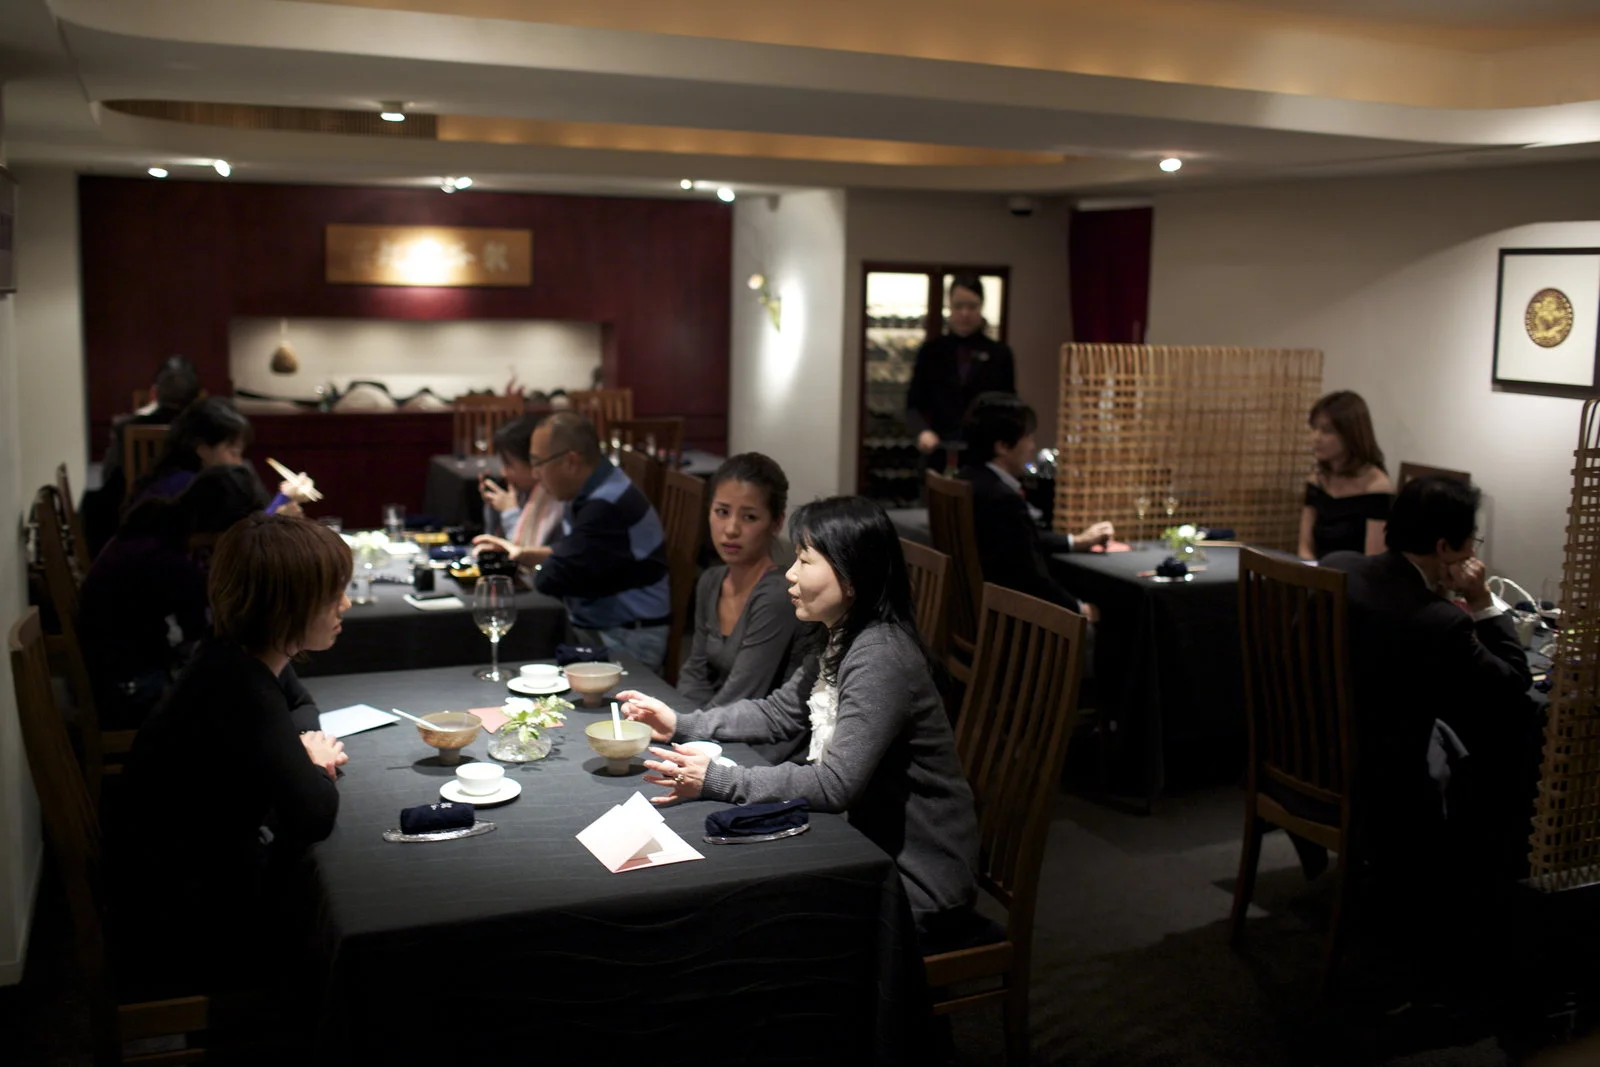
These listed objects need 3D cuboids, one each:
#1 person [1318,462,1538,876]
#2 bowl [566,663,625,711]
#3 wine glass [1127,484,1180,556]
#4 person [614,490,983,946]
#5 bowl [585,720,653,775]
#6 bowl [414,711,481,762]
[{"bbox_3d":[1.868,0.386,3.203,0.554,1.045,0.436,5,13,25],"label":"person"},{"bbox_3d":[-0.575,0.415,3.090,0.130,0.079,0.128,3,11,-1],"label":"bowl"},{"bbox_3d":[1.764,-0.058,5.472,0.309,0.279,0.102,-6,17,-12],"label":"wine glass"},{"bbox_3d":[0.024,0.655,2.831,0.909,1.428,0.617,-1,1,-10],"label":"person"},{"bbox_3d":[-0.447,0.519,2.732,0.131,0.084,0.132,1,3,0],"label":"bowl"},{"bbox_3d":[-0.870,0.492,2.744,0.118,0.077,0.120,2,5,0],"label":"bowl"}]
